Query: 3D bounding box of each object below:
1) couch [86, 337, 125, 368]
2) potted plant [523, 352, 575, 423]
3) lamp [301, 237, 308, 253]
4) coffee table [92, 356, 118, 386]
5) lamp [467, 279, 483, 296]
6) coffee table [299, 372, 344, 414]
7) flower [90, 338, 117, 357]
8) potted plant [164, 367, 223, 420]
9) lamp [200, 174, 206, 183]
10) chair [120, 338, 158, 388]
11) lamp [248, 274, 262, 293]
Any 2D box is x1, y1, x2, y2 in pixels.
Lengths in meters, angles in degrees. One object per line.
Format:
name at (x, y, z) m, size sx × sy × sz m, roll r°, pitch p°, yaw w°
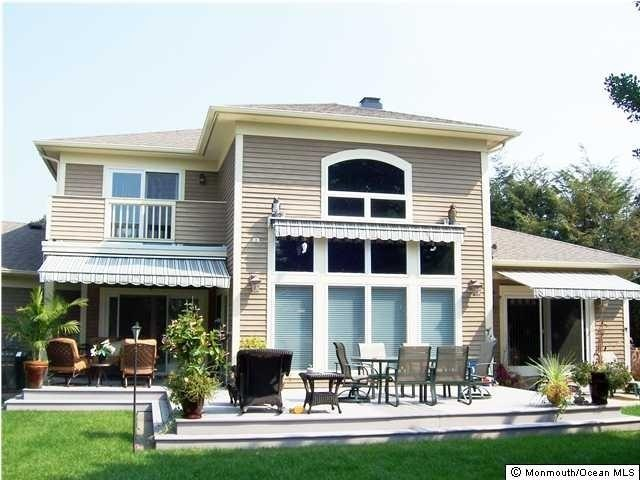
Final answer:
couch at (-8.626, 4.350, 30.945) m, size 1.333 × 1.004 × 1.376 m, roll 3°, pitch -16°, yaw -25°
potted plant at (8.454, 5.369, 28.385) m, size 2.443 × 2.624 × 1.753 m, roll 17°, pitch -18°, yaw -43°
lamp at (-0.630, 0.226, 32.171) m, size 0.203 × 0.656 × 0.265 m, roll 4°, pitch 6°, yaw 10°
coffee table at (-8.849, 5.222, 31.309) m, size 1.216 × 1.393 × 1.203 m, roll 3°, pitch -14°, yaw -17°
lamp at (6.677, 2.054, 33.326) m, size 0.581 × 0.752 × 0.612 m, roll 5°, pitch -7°, yaw -14°
coffee table at (0.065, 5.283, 26.788) m, size 1.541 × 1.379 × 1.393 m, roll 2°, pitch -19°, yaw -7°
flower at (-8.642, 4.330, 30.399) m, size 0.939 × 0.537 × 0.961 m, roll -12°, pitch -1°, yaw -39°
potted plant at (-4.320, 5.044, 25.673) m, size 1.507 × 1.574 × 1.559 m, roll 2°, pitch -15°, yaw -7°
lamp at (-5.579, -2.908, 36.577) m, size 0.362 × 0.566 × 0.374 m, roll 0°, pitch 1°, yaw -11°
chair at (-7.207, 4.786, 30.536) m, size 1.579 × 2.129 × 1.821 m, roll 3°, pitch -11°, yaw -15°
lamp at (-2.667, 1.767, 31.396) m, size 0.518 × 0.800 × 0.316 m, roll 2°, pitch -10°, yaw -5°
